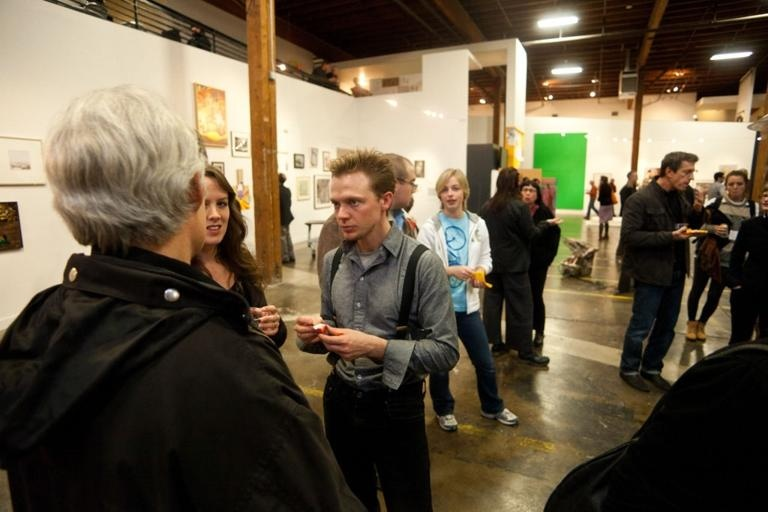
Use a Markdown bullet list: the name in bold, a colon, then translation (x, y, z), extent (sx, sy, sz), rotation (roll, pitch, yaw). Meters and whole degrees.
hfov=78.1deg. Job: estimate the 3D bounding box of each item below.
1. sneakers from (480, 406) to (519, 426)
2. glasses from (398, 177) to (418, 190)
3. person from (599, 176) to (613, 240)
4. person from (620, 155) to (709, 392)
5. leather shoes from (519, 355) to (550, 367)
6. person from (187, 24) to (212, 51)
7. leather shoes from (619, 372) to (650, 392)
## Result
- **sneakers**: translation (0.876, 1.201, 3.589), extent (0.236, 0.102, 0.109), rotation (2, 4, 26)
- **glasses**: translation (0.153, -0.486, 3.176), extent (0.114, 0.035, 0.113), rotation (1, 4, 25)
- **person**: translation (5.729, -1.239, 12.259), extent (0.364, 1.645, 1.567), rotation (4, 12, 24)
- **person**: translation (2.325, 0.118, 4.049), extent (0.653, 1.982, 0.508), rotation (-9, 13, -38)
- **leather shoes**: translation (1.422, 0.977, 4.474), extent (0.219, 0.086, 0.109), rotation (1, 5, 17)
- **person**: translation (-3.195, -3.780, 8.201), extent (0.342, 0.529, 0.848), rotation (-4, 12, -21)
- **leather shoes**: translation (2.148, 1.084, 4.055), extent (0.084, 0.079, 0.215), rotation (-14, 7, -16)
